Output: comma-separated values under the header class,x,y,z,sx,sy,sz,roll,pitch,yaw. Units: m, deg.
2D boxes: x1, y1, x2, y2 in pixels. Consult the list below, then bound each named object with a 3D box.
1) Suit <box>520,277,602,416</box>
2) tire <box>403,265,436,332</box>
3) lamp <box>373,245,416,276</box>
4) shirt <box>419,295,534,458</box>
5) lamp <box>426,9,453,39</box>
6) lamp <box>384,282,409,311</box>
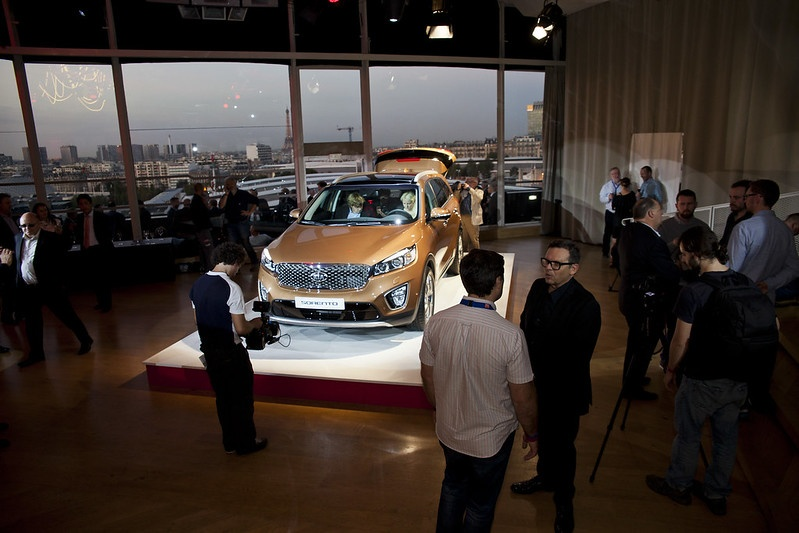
class,x,y,z,sx,sy,sz,roll,pitch,yaw
Suit,1.234,0.564,3.892,0.673,1.031,0.478,0,-8,-37
tire,0.236,0.378,5.776,0.353,0.719,0.349,-1,-17,-2
lamp,-0.047,-0.080,5.418,0.395,0.154,0.277,-21,8,-7
shirt,0.509,0.738,3.302,0.706,1.039,0.295,-4,15,-1
lamp,0.658,-3.868,8.117,0.403,0.398,0.416,3,7,31
lamp,-0.023,0.340,5.381,0.290,0.223,0.118,-18,11,-25
